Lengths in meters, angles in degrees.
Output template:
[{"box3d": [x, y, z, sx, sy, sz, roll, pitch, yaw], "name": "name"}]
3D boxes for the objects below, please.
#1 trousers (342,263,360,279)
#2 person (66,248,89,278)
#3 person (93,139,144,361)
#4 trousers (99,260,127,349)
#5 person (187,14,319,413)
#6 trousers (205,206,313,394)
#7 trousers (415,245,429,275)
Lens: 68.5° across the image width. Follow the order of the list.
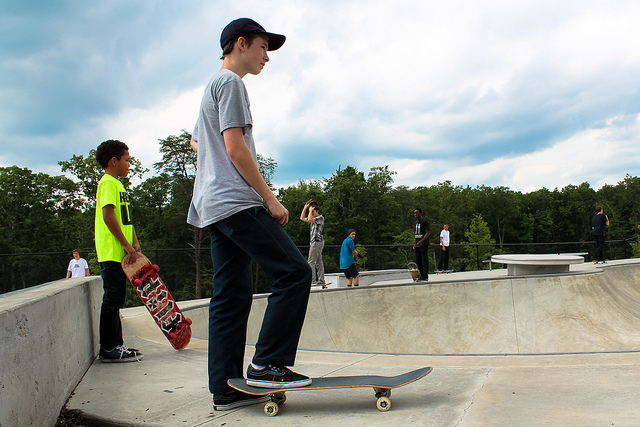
[{"box3d": [0.810, 1.491, 12.193, 0.321, 0.550, 0.549, 0, -4, -30], "name": "trousers"}, {"box3d": [-5.715, 1.156, 11.079, 0.404, 0.623, 0.774, 0, -2, -29], "name": "person"}, {"box3d": [-2.121, 0.378, 4.965, 0.452, 2.351, 0.628, 0, -1, -26], "name": "person"}, {"box3d": [-2.172, 0.944, 4.930, 0.248, 0.931, 0.327, 0, -1, -28], "name": "trousers"}, {"box3d": [-0.612, 0.005, 3.964, 1.231, 3.245, 0.993, -1, -2, 18], "name": "person"}, {"box3d": [-0.521, 0.679, 3.729, 0.875, 1.473, 0.302, -1, -1, 21], "name": "trousers"}, {"box3d": [2.698, 1.211, 12.435, 0.311, 0.762, 0.515, 0, -1, 7], "name": "trousers"}]
